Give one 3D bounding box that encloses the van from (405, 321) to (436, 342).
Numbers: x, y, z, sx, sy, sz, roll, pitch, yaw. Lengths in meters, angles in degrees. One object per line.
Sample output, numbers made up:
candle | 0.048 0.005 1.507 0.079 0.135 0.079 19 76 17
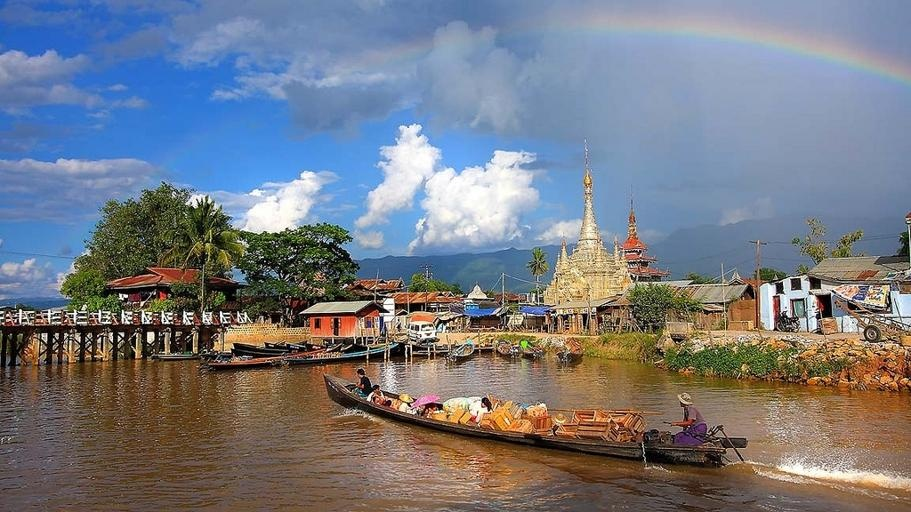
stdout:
van | -4.308 9.955 90.241 2.746 2.287 6.185 -4 8 -17
